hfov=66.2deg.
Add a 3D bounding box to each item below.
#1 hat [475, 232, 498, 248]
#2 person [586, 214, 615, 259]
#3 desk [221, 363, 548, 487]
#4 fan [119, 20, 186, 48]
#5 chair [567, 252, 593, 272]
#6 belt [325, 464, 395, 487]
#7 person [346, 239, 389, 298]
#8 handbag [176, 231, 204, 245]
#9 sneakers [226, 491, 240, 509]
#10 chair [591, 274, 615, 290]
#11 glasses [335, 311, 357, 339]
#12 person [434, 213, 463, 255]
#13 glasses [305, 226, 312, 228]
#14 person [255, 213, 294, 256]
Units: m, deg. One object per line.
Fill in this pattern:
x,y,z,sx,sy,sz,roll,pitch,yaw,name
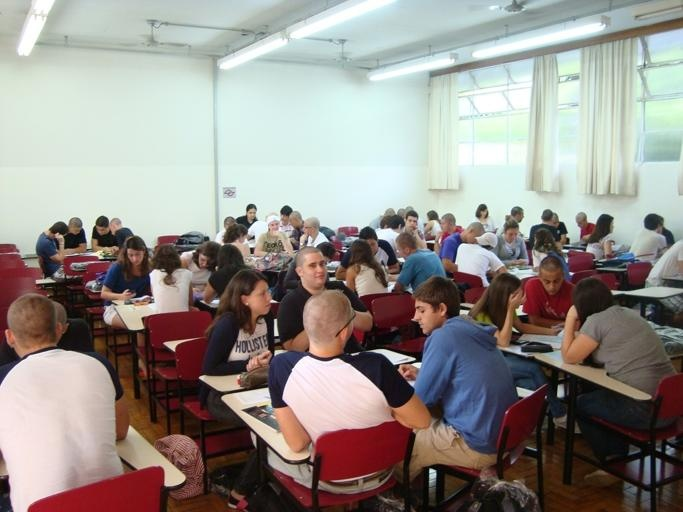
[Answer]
1.913,-0.211,6.924,0.302,0.145,0.200,7,15,-7,hat
3.929,-0.252,7.915,0.385,0.749,0.404,4,25,34,person
0.209,0.857,2.705,0.891,0.216,0.579,-3,5,-35,desk
-3.299,-3.895,9.217,1.011,0.418,0.332,1,7,-14,fan
3.178,0.082,7.031,0.249,0.229,0.208,-4,8,-20,chair
0.073,1.057,2.544,0.198,0.053,0.213,-2,-1,-6,belt
0.247,0.134,5.285,0.348,0.898,0.290,-10,31,1,person
-2.753,-0.315,9.753,0.363,0.174,0.509,0,2,0,handbag
-0.666,1.474,3.203,0.058,0.072,0.161,1,-4,-19,sneakers
2.310,0.225,4.635,0.144,0.186,0.148,2,9,23,chair
0.038,0.324,2.524,0.036,0.127,0.116,13,-2,-37,glasses
1.654,-0.234,8.179,0.449,0.830,0.397,8,11,25,person
-0.466,-0.404,7.403,0.085,0.039,0.027,2,7,15,glasses
-1.045,-0.220,7.864,0.536,0.763,0.430,-4,8,-32,person
